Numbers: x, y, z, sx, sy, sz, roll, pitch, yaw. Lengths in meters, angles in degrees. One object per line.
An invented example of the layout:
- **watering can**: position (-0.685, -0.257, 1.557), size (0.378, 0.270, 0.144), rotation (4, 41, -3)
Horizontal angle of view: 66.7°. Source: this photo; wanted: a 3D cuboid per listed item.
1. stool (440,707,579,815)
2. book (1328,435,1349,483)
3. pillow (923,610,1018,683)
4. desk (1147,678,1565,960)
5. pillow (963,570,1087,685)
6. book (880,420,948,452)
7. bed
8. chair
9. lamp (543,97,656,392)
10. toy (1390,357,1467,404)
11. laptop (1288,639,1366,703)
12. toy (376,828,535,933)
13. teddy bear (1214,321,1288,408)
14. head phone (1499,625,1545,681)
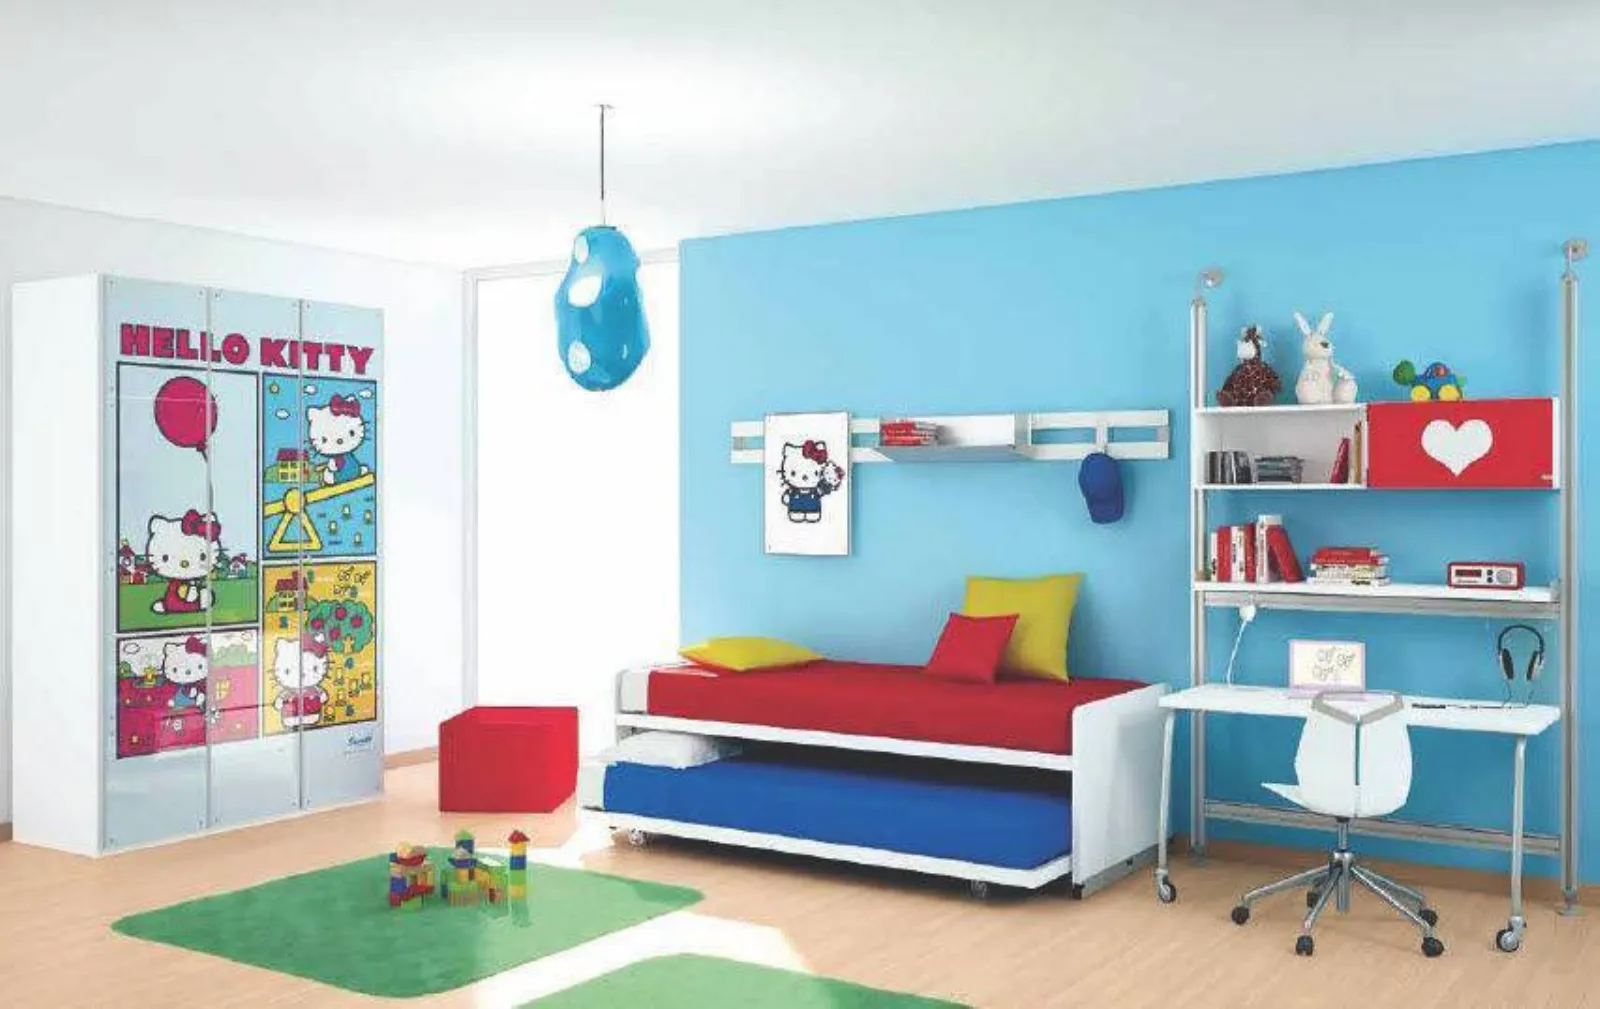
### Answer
- **stool**: position (-1.836, 1.586, 7.736), size (0.776, 0.574, 0.553), rotation (0, 8, 3)
- **book**: position (2.828, -0.222, 6.287), size (0.051, 0.196, 0.215), rotation (10, 18, 28)
- **pillow**: position (0.956, 0.777, 6.718), size (0.434, 0.379, 0.133), rotation (4, -28, 44)
- **desk**: position (2.619, 1.450, 5.885), size (1.752, 1.027, 1.013), rotation (-1, -7, 30)
- **pillow**: position (1.299, 0.713, 6.845), size (0.587, 0.502, 0.320), rotation (-2, -24, 41)
- **book**: position (0.704, -0.415, 7.301), size (0.407, 0.175, 0.213), rotation (-1, 7, -5)
- **bed**: position (0.431, 1.404, 6.717), size (2.856, 0.994, 1.025), rotation (3, 8, 24)
- **chair**: position (2.551, 1.484, 5.664), size (0.942, 0.983, 0.847), rotation (14, -29, -3)
- **lamp**: position (-0.970, -0.961, 5.974), size (0.446, 0.796, 0.256), rotation (-2, 8, -12)
- **toy**: position (3.235, -0.627, 6.203), size (0.321, 0.159, 0.230), rotation (1, 1, 30)
- **laptop**: position (2.671, 0.839, 6.108), size (0.296, 0.226, 0.103), rotation (1, 0, 25)
- **toy**: position (-1.692, 1.852, 6.075), size (0.614, 0.281, 0.450), rotation (-1, -2, 14)
- **teddy bear**: position (2.430, -0.731, 6.528), size (0.341, 0.399, 0.278), rotation (2, 15, 33)
- **head phone**: position (3.570, 0.770, 5.985), size (0.217, 0.292, 0.473), rotation (4, 8, 30)
